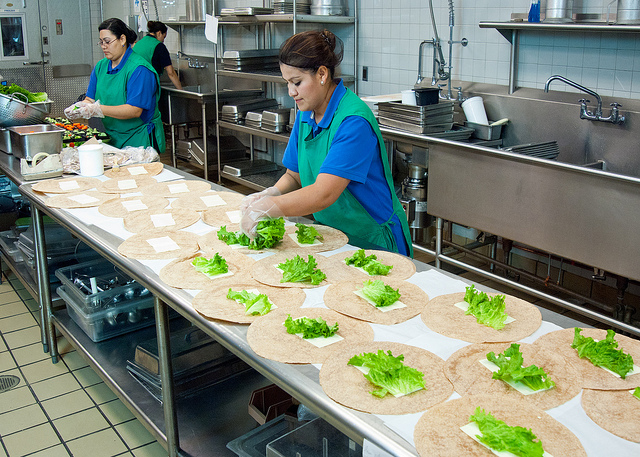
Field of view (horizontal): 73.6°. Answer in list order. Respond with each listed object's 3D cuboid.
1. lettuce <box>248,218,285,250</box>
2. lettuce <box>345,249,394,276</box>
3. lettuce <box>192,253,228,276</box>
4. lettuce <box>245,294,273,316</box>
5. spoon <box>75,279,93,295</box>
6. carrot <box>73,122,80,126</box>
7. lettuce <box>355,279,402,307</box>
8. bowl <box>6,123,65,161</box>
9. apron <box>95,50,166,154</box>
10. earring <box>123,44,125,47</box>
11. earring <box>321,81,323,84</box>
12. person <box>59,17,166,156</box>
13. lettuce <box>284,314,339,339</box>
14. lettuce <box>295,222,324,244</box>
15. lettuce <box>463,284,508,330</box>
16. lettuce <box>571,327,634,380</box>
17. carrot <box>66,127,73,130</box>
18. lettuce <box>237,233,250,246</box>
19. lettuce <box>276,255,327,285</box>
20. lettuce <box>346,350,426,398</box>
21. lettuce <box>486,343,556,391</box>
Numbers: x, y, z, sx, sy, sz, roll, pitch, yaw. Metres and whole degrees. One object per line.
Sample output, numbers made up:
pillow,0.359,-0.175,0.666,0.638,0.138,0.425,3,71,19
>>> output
lettuce,-0.229,0.013,1.880,0.125,0.060,0.097,24,27,29
lettuce,0.202,0.134,1.749,0.204,0.046,0.118,14,26,37
lettuce,-0.451,0.150,1.724,0.104,0.039,0.100,-5,38,-13
lettuce,-0.211,0.258,1.439,0.068,0.023,0.067,-35,55,-24
spoon,-1.432,0.357,2.590,0.143,0.026,0.030,42,16,16
carrot,-2.202,-0.944,3.854,0.052,0.021,0.051,2,12,35
lettuce,0.222,0.227,1.511,0.114,0.050,0.111,-14,23,-29
bowl,-2.183,-0.708,3.268,0.334,0.214,0.460,-9,25,-33
apron,-1.817,-1.161,4.066,0.599,0.943,0.498,-10,22,-19
earring,-1.747,-1.639,3.801,0.022,0.028,0.010,-7,8,-11
earring,0.009,-0.647,1.881,0.009,0.008,0.009,4,1,0
person,-1.940,-1.022,4.185,0.835,1.829,0.805,-1,26,-11
lettuce,-0.022,0.303,1.320,0.098,0.032,0.085,-1,3,-34
lettuce,-0.052,0.027,1.967,0.102,0.039,0.097,-13,28,-32
lettuce,0.536,0.252,1.383,0.094,0.051,0.123,-18,29,-5
lettuce,0.775,0.335,1.170,0.091,0.050,0.128,-33,28,-9
carrot,-2.184,-0.872,3.718,0.045,0.013,0.044,4,21,-4
lettuce,-0.343,0.046,1.943,0.051,0.049,0.019,11,31,5
lettuce,-0.063,0.161,1.633,0.134,0.050,0.118,23,43,15
lettuce,0.180,0.371,1.123,0.116,0.040,0.121,-16,31,-31
lettuce,0.543,0.371,1.131,0.160,0.051,0.172,-1,18,-33
